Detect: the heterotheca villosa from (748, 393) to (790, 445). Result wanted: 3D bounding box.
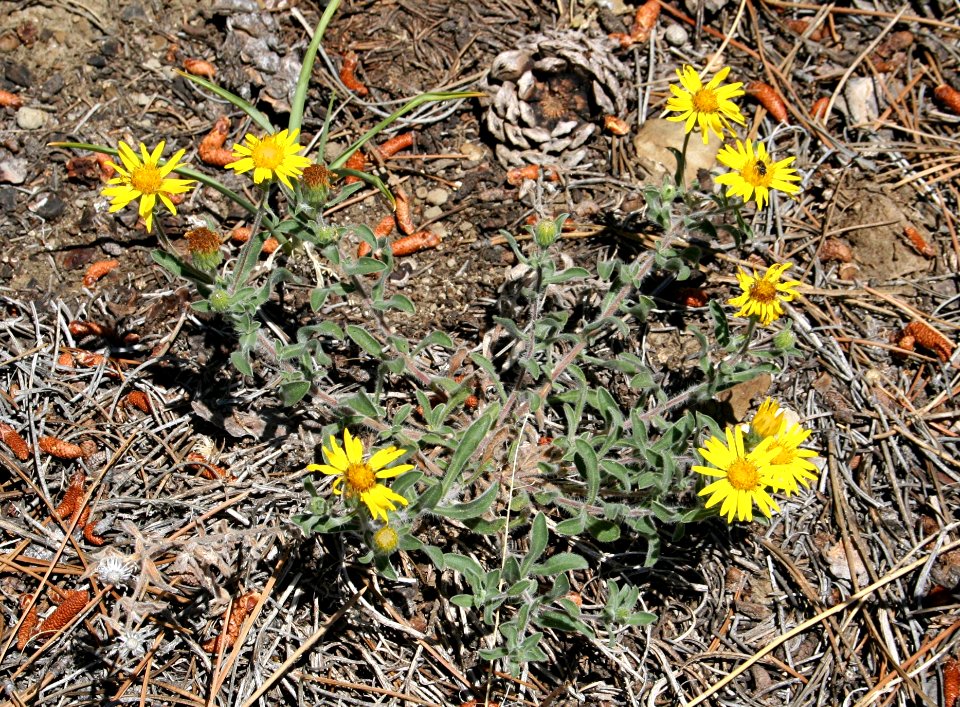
[{"bbox_3d":[1.460,0.347,4.895,0.135,0.245,0.167,21,26,-4],"label":"heterotheca villosa"}]

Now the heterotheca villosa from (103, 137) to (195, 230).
[{"bbox_3d":[-1.762,-0.889,5.004,0.489,0.181,0.472,-13,25,-34],"label":"heterotheca villosa"}]

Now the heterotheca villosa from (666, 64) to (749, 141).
[{"bbox_3d":[1.253,-1.415,5.383,0.490,0.179,0.492,37,51,17],"label":"heterotheca villosa"}]

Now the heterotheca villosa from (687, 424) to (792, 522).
[{"bbox_3d":[1.317,0.621,4.792,0.436,0.456,0.124,0,97,29],"label":"heterotheca villosa"}]

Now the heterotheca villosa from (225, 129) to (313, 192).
[{"bbox_3d":[-1.129,-0.997,5.114,0.356,0.135,0.370,36,71,3],"label":"heterotheca villosa"}]
